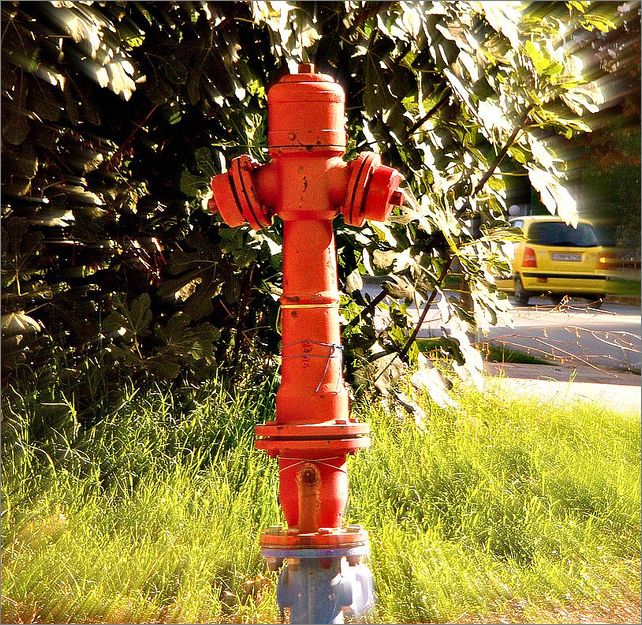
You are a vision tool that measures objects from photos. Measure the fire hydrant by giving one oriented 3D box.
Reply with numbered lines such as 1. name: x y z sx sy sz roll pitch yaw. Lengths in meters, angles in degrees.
1. fire hydrant: -0.056 0.142 1.082 0.430 1.271 0.444 1 8 8

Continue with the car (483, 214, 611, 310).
1. car: 6.700 -1.436 17.043 3.264 2.405 5.334 -1 6 -2
